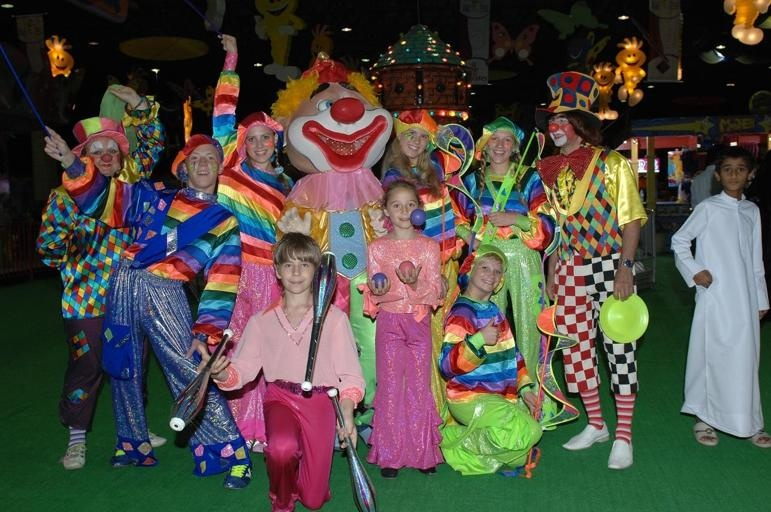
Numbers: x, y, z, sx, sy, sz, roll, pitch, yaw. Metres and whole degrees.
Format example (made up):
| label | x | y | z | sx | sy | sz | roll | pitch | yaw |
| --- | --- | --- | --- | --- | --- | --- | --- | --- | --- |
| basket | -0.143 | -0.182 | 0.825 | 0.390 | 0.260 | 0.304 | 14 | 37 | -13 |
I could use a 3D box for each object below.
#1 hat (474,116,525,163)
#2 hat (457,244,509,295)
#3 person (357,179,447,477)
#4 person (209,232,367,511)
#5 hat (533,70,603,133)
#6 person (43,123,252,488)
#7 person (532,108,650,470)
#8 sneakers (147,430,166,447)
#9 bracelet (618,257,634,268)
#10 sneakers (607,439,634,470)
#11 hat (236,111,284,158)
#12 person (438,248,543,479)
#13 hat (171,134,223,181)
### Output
| label | x | y | z | sx | sy | sz | roll | pitch | yaw |
| --- | --- | --- | --- | --- | --- | --- | --- | --- | --- |
| hat | 0.928 | -0.937 | 5.178 | 0.283 | 0.271 | 0.377 | 0 | -1 | 9 |
| hat | 0.722 | 0.051 | 4.782 | 0.275 | 0.392 | 0.173 | 19 | 18 | 2 |
| person | 0.138 | 0.526 | 4.661 | 0.567 | 2.073 | 0.557 | -2 | 11 | -2 |
| person | -0.578 | 0.972 | 4.172 | 0.896 | 1.452 | 0.542 | 1 | 12 | 12 |
| hat | 1.493 | -1.247 | 5.145 | 0.535 | 0.337 | 0.573 | 13 | 4 | 29 |
| person | -1.548 | 0.342 | 4.641 | 1.312 | 2.483 | 0.778 | 4 | 12 | 23 |
| person | 1.594 | 0.192 | 4.918 | 0.677 | 2.584 | 0.958 | -12 | 16 | -44 |
| sneakers | -1.859 | 1.472 | 5.146 | 0.215 | 0.089 | 0.086 | -4 | -5 | 40 |
| bracelet | 1.808 | 0.036 | 4.763 | 0.092 | 0.061 | 0.088 | 17 | -2 | -18 |
| sneakers | 1.739 | 1.461 | 4.699 | 0.180 | 0.170 | 0.164 | 1 | 11 | 12 |
| hat | -0.995 | -0.935 | 5.080 | 0.283 | 0.402 | 0.200 | 0 | 9 | -6 |
| person | 0.765 | 0.776 | 4.679 | 0.720 | 1.579 | 0.452 | 0 | 11 | 5 |
| hat | -1.447 | -0.774 | 4.850 | 0.307 | 0.416 | 0.212 | 18 | -9 | -13 |
